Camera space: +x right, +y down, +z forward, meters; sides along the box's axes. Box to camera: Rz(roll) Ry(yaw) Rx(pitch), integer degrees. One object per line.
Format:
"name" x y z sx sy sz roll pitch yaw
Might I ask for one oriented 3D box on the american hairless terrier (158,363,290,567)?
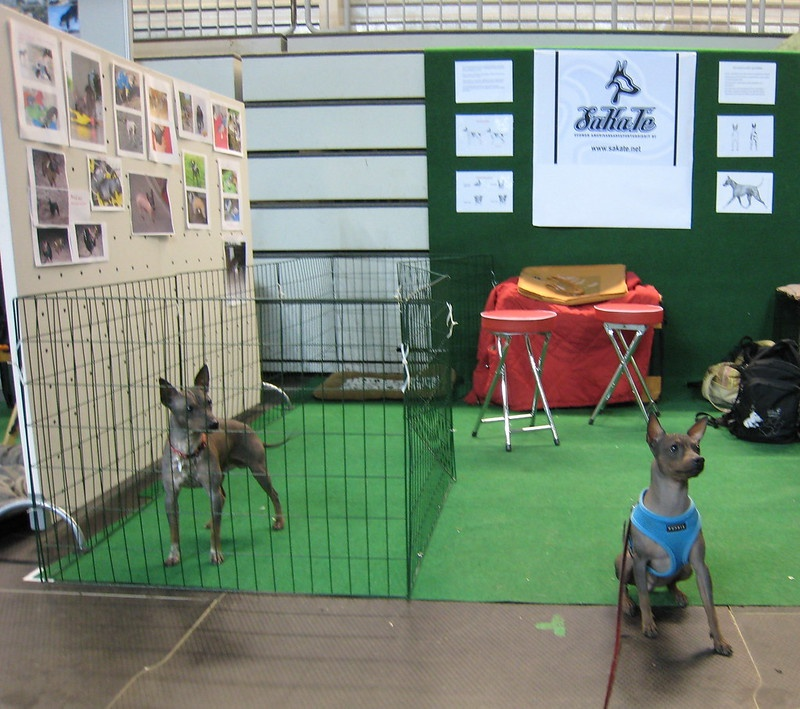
"american hairless terrier" -0.698 0.403 3.088 0.278 0.806 0.985 1 6 10

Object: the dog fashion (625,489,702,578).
"dog fashion" 0.852 0.569 2.481 0.158 0.256 0.249 -2 18 -5

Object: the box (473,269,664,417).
"box" 1.031 -0.004 5.015 0.804 0.727 0.893 -1 4 2

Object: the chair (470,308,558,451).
"chair" 0.692 0.162 4.437 0.481 1.024 0.564 -4 14 -11

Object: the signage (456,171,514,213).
"signage" 0.574 -1.104 5.136 0.382 0.263 0.062 3 13 14

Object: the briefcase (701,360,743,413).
"briefcase" 2.034 0.184 4.802 0.184 0.319 0.295 -1 42 3

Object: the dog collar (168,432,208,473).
"dog collar" -0.787 0.378 2.793 0.096 0.173 0.109 9 2 -12

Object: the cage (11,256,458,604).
"cage" -0.659 0.591 3.419 1.374 1.147 1.603 -1 18 -1
